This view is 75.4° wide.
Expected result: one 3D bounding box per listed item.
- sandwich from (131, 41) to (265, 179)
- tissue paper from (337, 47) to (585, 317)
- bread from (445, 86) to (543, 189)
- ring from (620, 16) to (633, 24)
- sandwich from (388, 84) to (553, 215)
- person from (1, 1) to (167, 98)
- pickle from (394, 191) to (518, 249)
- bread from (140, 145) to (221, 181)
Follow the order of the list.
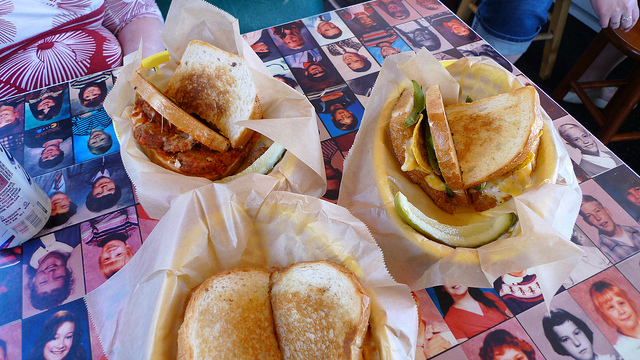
[{"bbox_3d":[-0.353,-0.250,1.352,0.367,0.171,0.464,30,81,-5],"label":"sandwich"},{"bbox_3d":[0.358,0.060,1.291,0.509,0.547,0.950,2,95,-8],"label":"tissue paper"},{"bbox_3d":[0.472,-0.160,1.339,0.370,0.268,0.338,-2,32,-4],"label":"bread"},{"bbox_3d":[1.211,-0.636,1.637,0.035,0.013,0.030,-38,66,-1],"label":"ring"},{"bbox_3d":[0.459,-0.159,1.238,0.358,0.339,0.106,17,39,-2],"label":"sandwich"},{"bbox_3d":[-1.070,-0.596,2.008,0.720,0.234,0.508,-7,80,-22],"label":"person"},{"bbox_3d":[0.381,0.117,1.136,0.098,0.372,0.113,-19,104,-36],"label":"pickle"},{"bbox_3d":[-0.433,-0.067,1.284,0.176,0.167,0.131,10,99,47],"label":"bread"}]
